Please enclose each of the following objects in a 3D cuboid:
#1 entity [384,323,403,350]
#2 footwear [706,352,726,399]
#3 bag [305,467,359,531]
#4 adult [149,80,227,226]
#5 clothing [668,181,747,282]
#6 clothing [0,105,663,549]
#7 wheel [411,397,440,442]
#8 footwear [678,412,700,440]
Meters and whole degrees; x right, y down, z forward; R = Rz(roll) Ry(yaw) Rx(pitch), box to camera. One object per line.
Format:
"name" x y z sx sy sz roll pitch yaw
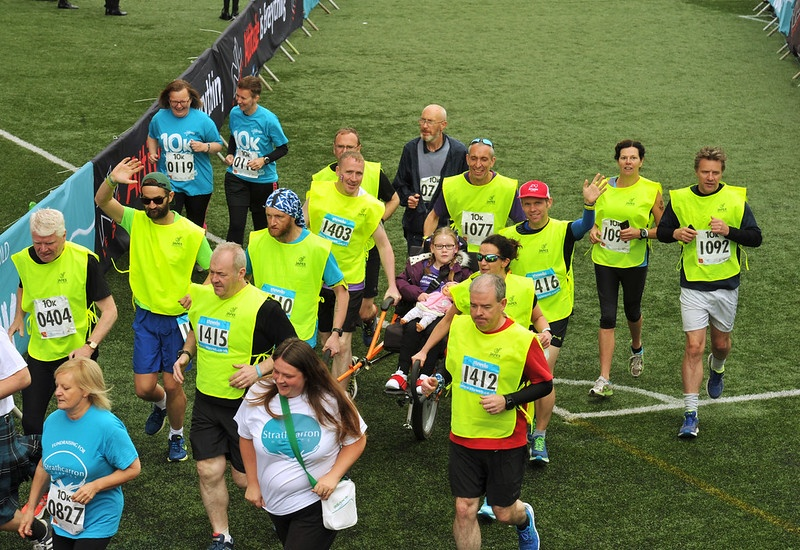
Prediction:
"entity" -0.062 0.671 9.513 0.282 0.298 0.220 4 2 -8
"footwear" 3.759 1.211 10.513 0.189 0.555 0.225 2 17 10
"bag" -0.482 1.814 6.934 0.269 0.387 0.198 -1 15 -6
"adult" -2.893 -1.323 11.840 0.971 2.472 0.873 2 21 -7
"clothing" 3.611 -0.450 10.107 0.581 1.130 0.939 -10 8 -44
"clothing" -0.720 0.618 9.211 4.766 7.411 1.713 2 -28 -2
"wheel" 0.265 1.548 9.445 0.127 0.547 0.541 -4 -18 18
"footwear" 3.212 1.631 9.727 0.182 0.274 0.294 10 18 30
